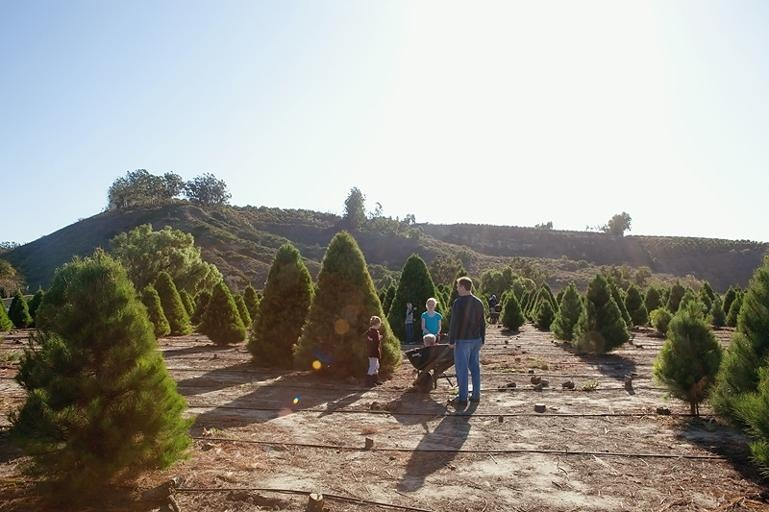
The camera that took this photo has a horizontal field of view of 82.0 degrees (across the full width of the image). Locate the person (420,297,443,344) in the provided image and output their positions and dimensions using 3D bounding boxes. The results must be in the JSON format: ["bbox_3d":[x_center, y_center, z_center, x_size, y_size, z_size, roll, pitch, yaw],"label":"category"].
[{"bbox_3d":[1.294,2.071,12.012,0.614,1.875,0.577,-2,6,1],"label":"person"}]

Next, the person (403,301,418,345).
[{"bbox_3d":[1.228,3.132,20.798,0.503,1.876,0.956,0,0,4],"label":"person"}]

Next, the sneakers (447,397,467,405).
[{"bbox_3d":[1.572,3.060,9.350,0.408,0.136,0.213,0,-1,2],"label":"sneakers"}]

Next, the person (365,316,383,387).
[{"bbox_3d":[-0.248,2.386,11.308,0.355,1.704,0.838,0,0,-2],"label":"person"}]

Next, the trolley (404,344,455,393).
[{"bbox_3d":[1.093,2.620,10.628,1.122,1.174,1.629,-5,4,23],"label":"trolley"}]
